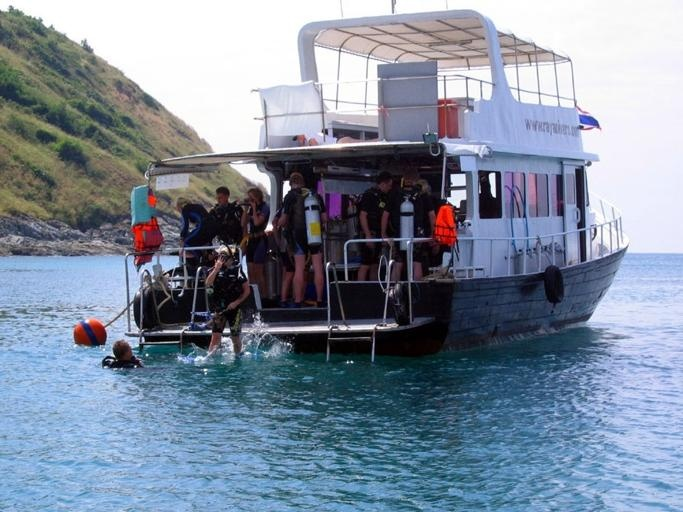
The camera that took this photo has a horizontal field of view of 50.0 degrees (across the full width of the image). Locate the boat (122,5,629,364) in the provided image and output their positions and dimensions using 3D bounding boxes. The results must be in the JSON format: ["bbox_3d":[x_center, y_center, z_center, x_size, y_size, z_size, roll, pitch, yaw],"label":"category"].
[{"bbox_3d":[2.586,-1.244,17.314,5.714,5.288,11.967,-1,0,35],"label":"boat"}]
